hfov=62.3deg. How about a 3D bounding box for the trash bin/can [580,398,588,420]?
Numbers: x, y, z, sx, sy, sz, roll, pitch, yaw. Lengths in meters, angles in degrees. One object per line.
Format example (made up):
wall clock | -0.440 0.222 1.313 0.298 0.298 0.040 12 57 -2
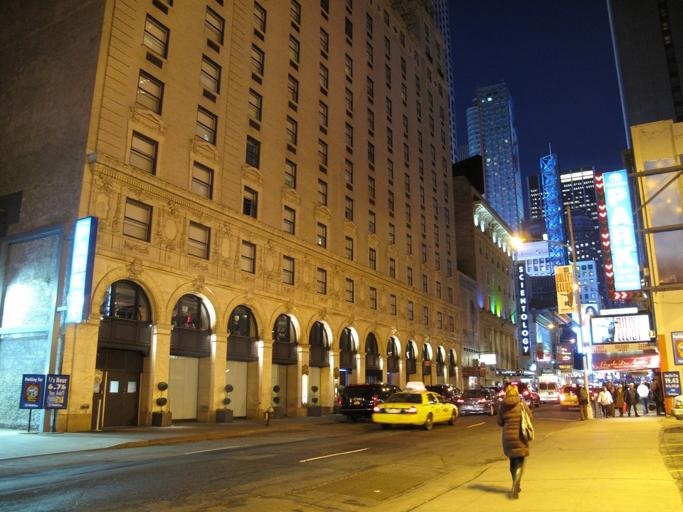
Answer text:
trash bin/can | 14.535 9.207 33.934 0.457 1.080 0.692 -14 -20 30

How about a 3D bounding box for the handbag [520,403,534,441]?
handbag | 4.580 4.183 14.112 0.280 0.897 0.460 -9 -18 16
